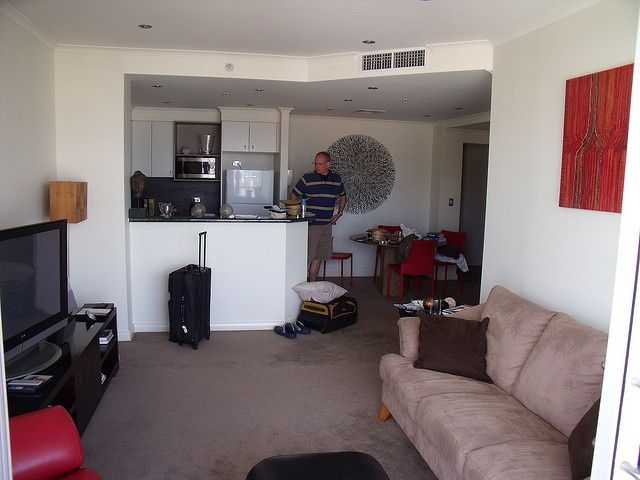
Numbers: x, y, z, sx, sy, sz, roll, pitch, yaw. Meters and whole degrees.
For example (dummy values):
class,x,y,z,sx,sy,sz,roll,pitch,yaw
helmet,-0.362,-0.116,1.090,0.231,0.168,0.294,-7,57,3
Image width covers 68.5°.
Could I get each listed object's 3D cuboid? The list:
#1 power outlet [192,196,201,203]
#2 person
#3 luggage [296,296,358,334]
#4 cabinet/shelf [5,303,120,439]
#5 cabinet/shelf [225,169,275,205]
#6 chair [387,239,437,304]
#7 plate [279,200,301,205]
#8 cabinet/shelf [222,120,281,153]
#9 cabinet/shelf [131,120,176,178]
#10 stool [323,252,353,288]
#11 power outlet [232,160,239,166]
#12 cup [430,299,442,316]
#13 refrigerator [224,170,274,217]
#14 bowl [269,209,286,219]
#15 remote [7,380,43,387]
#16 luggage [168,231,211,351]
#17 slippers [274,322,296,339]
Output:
class,x,y,z,sx,sy,sz,roll,pitch,yaw
power outlet,-1.960,-0.647,7.430,0.090,0.062,0.091,3,11,-14
person,-0.031,-0.282,6.102,0.380,1.693,0.927,12,15,39
luggage,0.075,0.837,5.466,0.484,0.302,0.629,7,5,33
cabinet/shelf,-1.646,0.835,2.978,0.234,0.392,0.913,-2,18,-11
cabinet/shelf,-1.053,-0.691,7.313,0.775,0.704,0.616,1,-4,-13
chair,1.222,0.371,6.377,0.516,0.883,0.564,-3,13,-17
plate,-0.341,-0.450,5.588,0.227,0.066,0.291,3,11,4
cabinet/shelf,-1.057,-1.560,7.076,0.835,0.445,0.187,0,12,-12
cabinet/shelf,-2.574,-1.380,7.356,0.671,0.869,0.514,0,-4,-16
stool,0.296,0.425,7.388,0.481,0.668,0.493,0,10,3
power outlet,-1.328,-1.207,7.353,0.143,0.097,0.034,-2,-2,-7
cup,0.998,0.582,4.063,0.075,0.144,0.076,-2,11,0
refrigerator,-1.049,-0.565,7.304,0.670,0.905,0.540,0,-13,-7
bowl,-0.468,-0.300,5.278,0.190,0.099,0.265,1,11,-5
remote,-1.681,0.812,2.680,0.082,0.019,0.061,2,5,-13
luggage,-1.291,0.497,4.806,0.348,1.091,0.498,5,12,15
slippers,-0.367,0.974,5.113,0.128,0.100,0.212,-8,18,-42
